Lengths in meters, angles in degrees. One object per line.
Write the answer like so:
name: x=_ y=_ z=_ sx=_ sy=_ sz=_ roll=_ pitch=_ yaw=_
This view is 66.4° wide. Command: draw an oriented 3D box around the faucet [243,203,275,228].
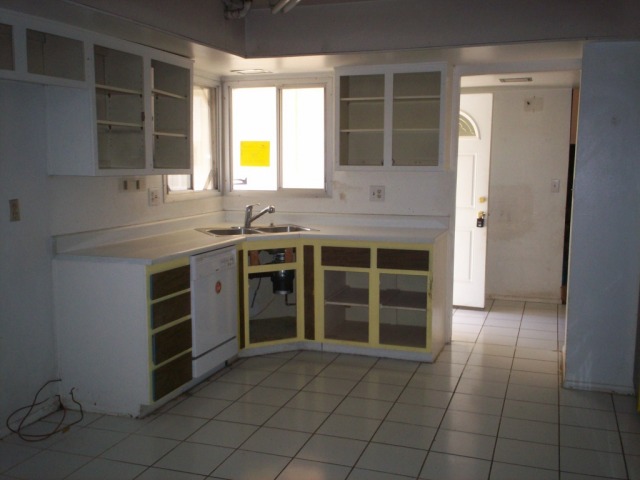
faucet: x=-0.603 y=-0.237 z=4.679 sx=0.274 sy=0.222 sz=0.672 roll=-3 pitch=10 yaw=-9

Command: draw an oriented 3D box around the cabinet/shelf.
cabinet/shelf: x=-0.721 y=0.547 z=3.493 sx=1.732 sy=0.745 sz=1.754 roll=1 pitch=6 yaw=19
